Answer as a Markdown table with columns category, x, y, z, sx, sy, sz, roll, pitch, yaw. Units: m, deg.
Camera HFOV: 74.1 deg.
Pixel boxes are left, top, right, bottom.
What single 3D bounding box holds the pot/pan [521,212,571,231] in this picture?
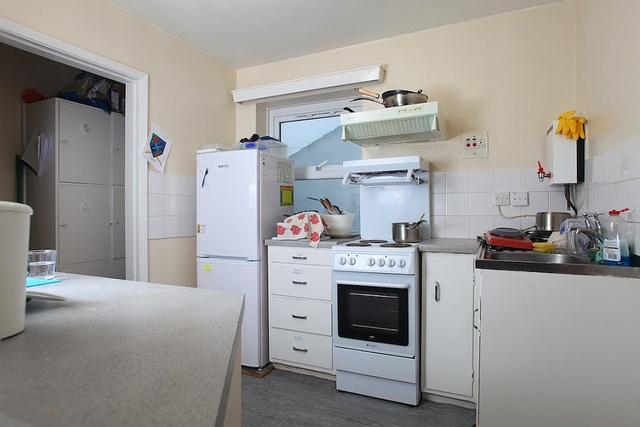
| category | x | y | z | sx | sy | sz | roll | pitch | yaw |
| --- | --- | --- | --- | --- | --- | --- | --- | --- | --- |
| pot/pan | 1.772 | 0.058 | 3.248 | 0.166 | 0.107 | 0.222 | 1 | -1 | -40 |

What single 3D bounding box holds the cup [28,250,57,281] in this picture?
| category | x | y | z | sx | sy | sz | roll | pitch | yaw |
| --- | --- | --- | --- | --- | --- | --- | --- | --- | --- |
| cup | -1.510 | 0.277 | 2.289 | 0.133 | 0.150 | 0.156 | 2 | 2 | -13 |

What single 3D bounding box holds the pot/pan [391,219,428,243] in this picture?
| category | x | y | z | sx | sy | sz | roll | pitch | yaw |
| --- | --- | --- | --- | --- | --- | --- | --- | --- | --- |
| pot/pan | 0.725 | 0.146 | 3.443 | 0.294 | 0.188 | 0.171 | -1 | -1 | 14 |

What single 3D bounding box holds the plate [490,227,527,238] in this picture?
| category | x | y | z | sx | sy | sz | roll | pitch | yaw |
| --- | --- | --- | --- | --- | --- | --- | --- | --- | --- |
| plate | 1.318 | 0.137 | 3.003 | 0.214 | 0.064 | 0.261 | -1 | -2 | 39 |

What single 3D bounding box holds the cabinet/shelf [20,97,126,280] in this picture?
| category | x | y | z | sx | sy | sz | roll | pitch | yaw |
| --- | --- | --- | --- | --- | --- | --- | --- | --- | --- |
| cabinet/shelf | -2.463 | -0.209 | 4.336 | 0.924 | 1.807 | 0.424 | 2 | -2 | -34 |

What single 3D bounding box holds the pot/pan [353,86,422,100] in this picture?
| category | x | y | z | sx | sy | sz | roll | pitch | yaw |
| --- | --- | --- | --- | --- | --- | --- | --- | --- | --- |
| pot/pan | 0.557 | -0.990 | 3.485 | 0.411 | 0.061 | 0.243 | 3 | 7 | 9 |

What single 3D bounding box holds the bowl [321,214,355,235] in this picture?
| category | x | y | z | sx | sy | sz | roll | pitch | yaw |
| --- | --- | --- | --- | --- | --- | --- | --- | --- | --- |
| bowl | 0.153 | 0.098 | 3.757 | 0.211 | 0.129 | 0.212 | -1 | -3 | 0 |

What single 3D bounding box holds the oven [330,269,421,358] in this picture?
| category | x | y | z | sx | sy | sz | roll | pitch | yaw |
| --- | --- | --- | --- | --- | --- | --- | --- | --- | --- |
| oven | 0.461 | 0.656 | 3.413 | 0.801 | 0.744 | 0.533 | -2 | -6 | 24 |

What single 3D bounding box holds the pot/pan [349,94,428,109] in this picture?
| category | x | y | z | sx | sy | sz | roll | pitch | yaw |
| --- | --- | --- | --- | --- | --- | --- | --- | --- | --- |
| pot/pan | 0.586 | -0.917 | 3.484 | 0.469 | 0.075 | 0.263 | 2 | 5 | 29 |

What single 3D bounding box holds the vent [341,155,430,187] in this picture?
| category | x | y | z | sx | sy | sz | roll | pitch | yaw |
| --- | --- | --- | --- | --- | --- | --- | --- | --- | --- |
| vent | 0.561 | -0.345 | 3.577 | 0.630 | 0.215 | 0.440 | 0 | -2 | 22 |

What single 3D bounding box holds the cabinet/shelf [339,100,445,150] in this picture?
| category | x | y | z | sx | sy | sz | roll | pitch | yaw |
| --- | --- | --- | --- | --- | --- | --- | --- | --- | --- |
| cabinet/shelf | 0.617 | -0.735 | 3.589 | 0.816 | 0.226 | 0.504 | 0 | -2 | 20 |
